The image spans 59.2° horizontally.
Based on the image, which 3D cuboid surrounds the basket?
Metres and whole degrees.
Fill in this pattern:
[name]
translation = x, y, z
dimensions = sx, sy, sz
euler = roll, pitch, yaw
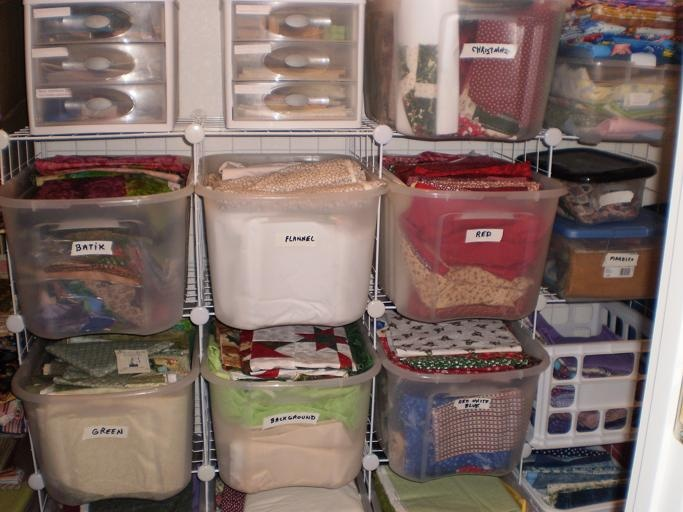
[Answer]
[basket]
translation = 0.811, 0.395, 2.253
dimensions = 0.516, 0.332, 0.601
euler = -2, 19, -6
